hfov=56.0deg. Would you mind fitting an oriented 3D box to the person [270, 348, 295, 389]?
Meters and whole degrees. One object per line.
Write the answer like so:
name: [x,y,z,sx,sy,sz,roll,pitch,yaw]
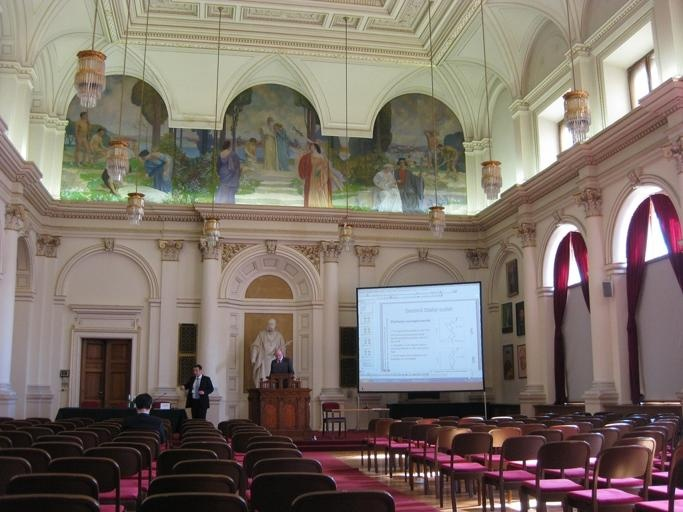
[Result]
person: [-1.578,2.955,16.924,0.582,1.039,1.097,1,-13,-6]
